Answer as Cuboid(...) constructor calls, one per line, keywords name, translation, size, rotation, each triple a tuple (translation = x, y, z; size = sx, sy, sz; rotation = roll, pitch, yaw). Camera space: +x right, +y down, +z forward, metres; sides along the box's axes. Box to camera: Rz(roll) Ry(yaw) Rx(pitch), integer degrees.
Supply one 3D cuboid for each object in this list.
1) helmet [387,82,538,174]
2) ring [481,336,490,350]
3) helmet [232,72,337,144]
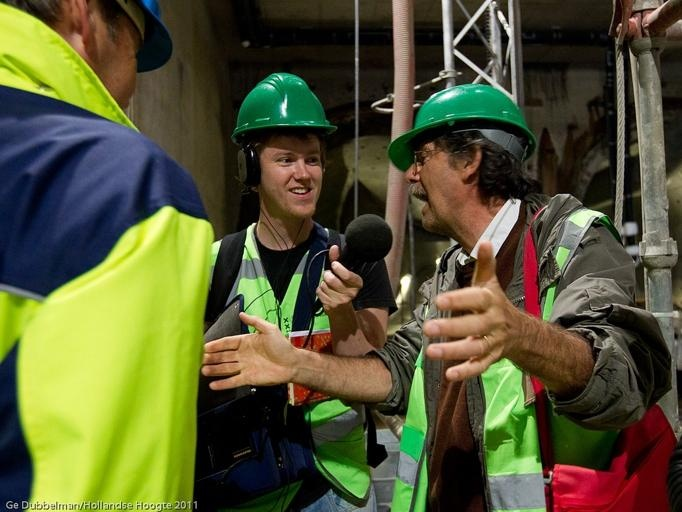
Cuboid(name="helmet", translation=(0.540, -0.583, 4.742), size=(0.527, 0.307, 0.445), rotation=(1, -24, 28))
Cuboid(name="ring", translation=(0.504, 0.312, 3.631), size=(0.014, 0.039, 0.032), rotation=(-10, -4, -11))
Cuboid(name="helmet", translation=(-0.316, -0.745, 5.025), size=(0.496, 0.319, 0.597), rotation=(-3, 6, -21))
